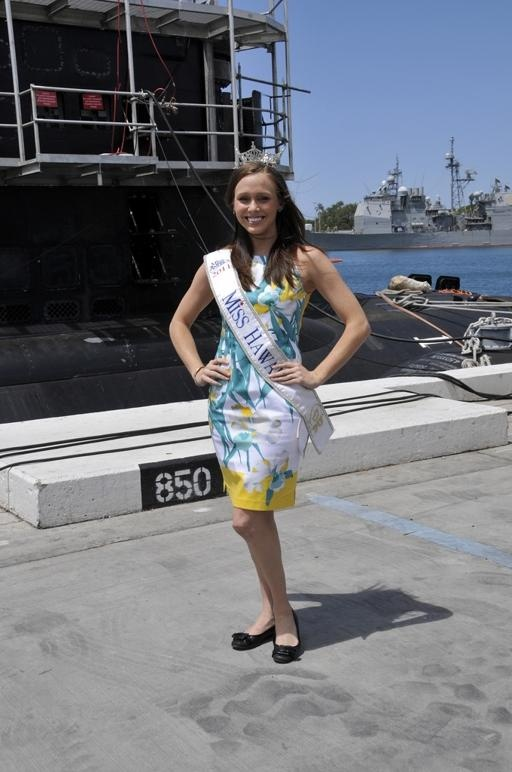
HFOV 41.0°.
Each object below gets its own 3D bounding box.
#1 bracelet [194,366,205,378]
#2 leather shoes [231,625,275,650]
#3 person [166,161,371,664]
[{"bbox_3d":[-0.186,-0.049,2.314,0.037,0.011,0.034,-30,19,33],"label":"bracelet"},{"bbox_3d":[-0.008,0.898,2.423,0.060,0.045,0.167,-13,-24,41],"label":"leather shoes"},{"bbox_3d":[0.033,0.084,2.361,0.714,1.679,0.372,-1,4,8],"label":"person"}]
